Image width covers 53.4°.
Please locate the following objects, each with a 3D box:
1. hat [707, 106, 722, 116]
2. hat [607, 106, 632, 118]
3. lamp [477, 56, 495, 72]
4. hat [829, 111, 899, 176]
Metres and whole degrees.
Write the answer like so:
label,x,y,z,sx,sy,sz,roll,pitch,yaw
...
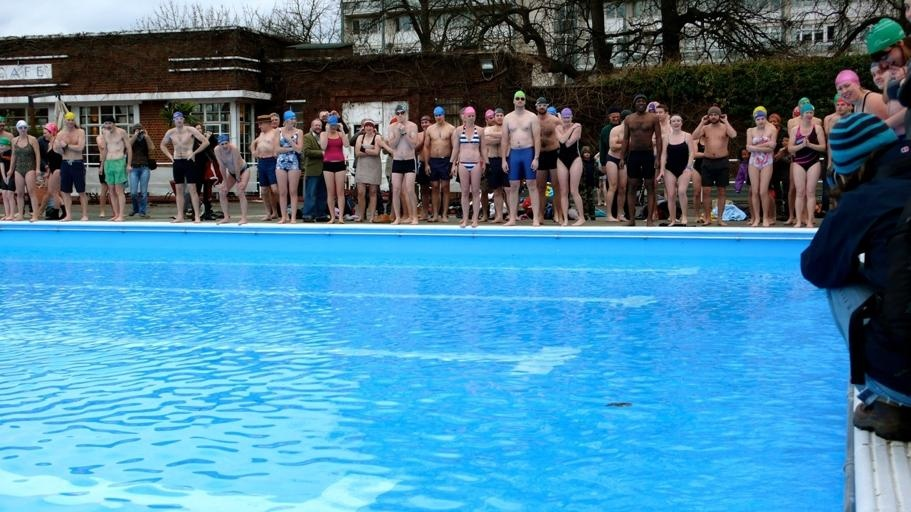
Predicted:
label,x,y,z,sx,sy,sz,roll,pitch,yaw
hat,4.680,-2.641,16.471,0.190,0.176,0.246,2,-20,39
hat,3.122,-2.835,17.467,0.429,0.179,0.532,0,3,-3
lamp,0.867,-5.419,25.397,0.602,0.230,1.059,2,5,3
hat,3.490,-1.005,7.890,0.622,0.463,0.421,-20,-3,-6
